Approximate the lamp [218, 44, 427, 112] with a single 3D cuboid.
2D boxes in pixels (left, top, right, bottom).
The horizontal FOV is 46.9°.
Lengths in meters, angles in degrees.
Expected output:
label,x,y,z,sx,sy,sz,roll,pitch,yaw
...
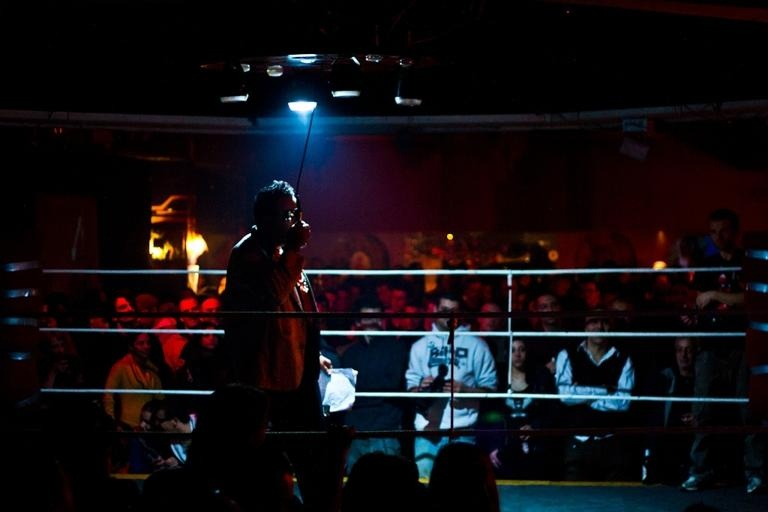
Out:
label,x,y,z,sx,sy,sz,roll,pitch,yaw
lamp,-0.565,-1.561,7.616,1.764,0.427,1.012,-2,-14,12
